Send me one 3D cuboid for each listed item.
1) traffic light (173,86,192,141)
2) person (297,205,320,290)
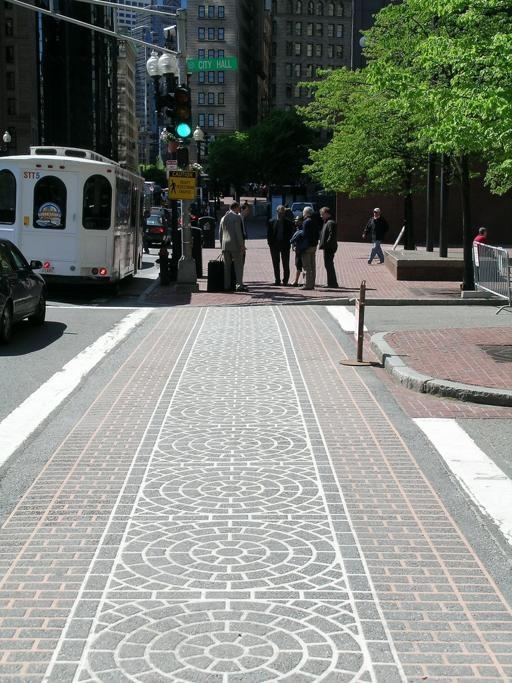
[{"bbox_3d":[-1.920,-6.014,18.025,0.384,1.311,0.635,-2,8,-7],"label":"traffic light"},{"bbox_3d":[1.475,-2.545,18.920,0.439,2.241,1.077,0,8,4],"label":"person"}]
